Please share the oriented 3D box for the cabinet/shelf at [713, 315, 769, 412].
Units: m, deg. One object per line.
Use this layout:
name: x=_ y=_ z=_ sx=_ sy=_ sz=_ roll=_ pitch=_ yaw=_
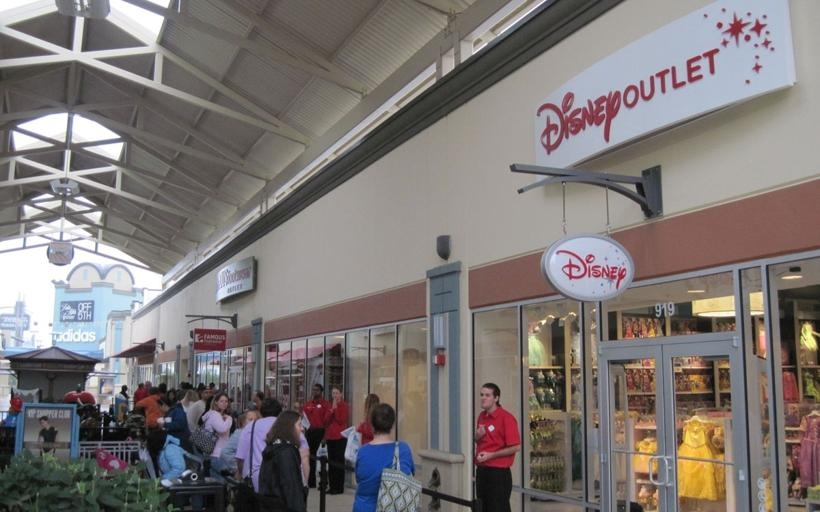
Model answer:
cabinet/shelf: x=4.037 y=1.249 z=7.674 sx=0.505 sy=1.342 sz=0.209 roll=-8 pitch=-14 yaw=26
